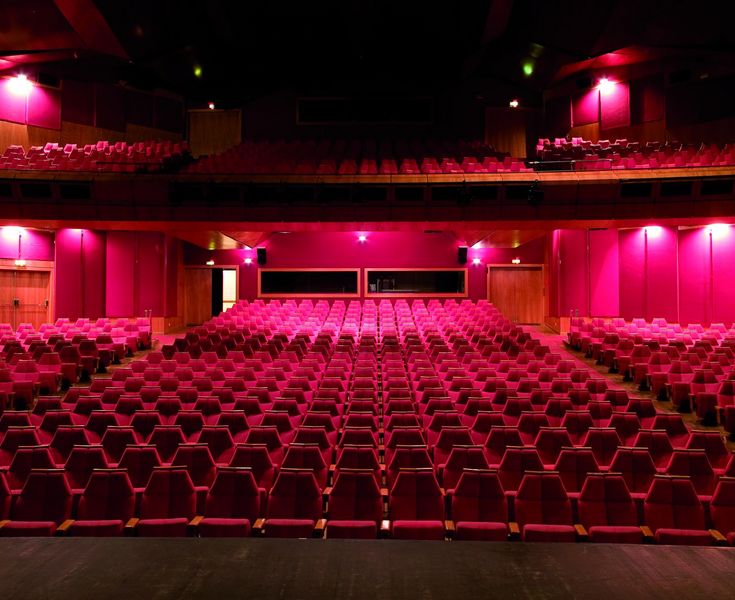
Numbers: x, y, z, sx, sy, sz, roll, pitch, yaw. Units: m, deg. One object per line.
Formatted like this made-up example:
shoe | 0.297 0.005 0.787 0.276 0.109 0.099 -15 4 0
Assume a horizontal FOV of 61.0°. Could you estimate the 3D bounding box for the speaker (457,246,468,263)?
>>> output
speaker | 2.942 -1.366 19.185 0.337 0.550 0.157 0 4 -8
